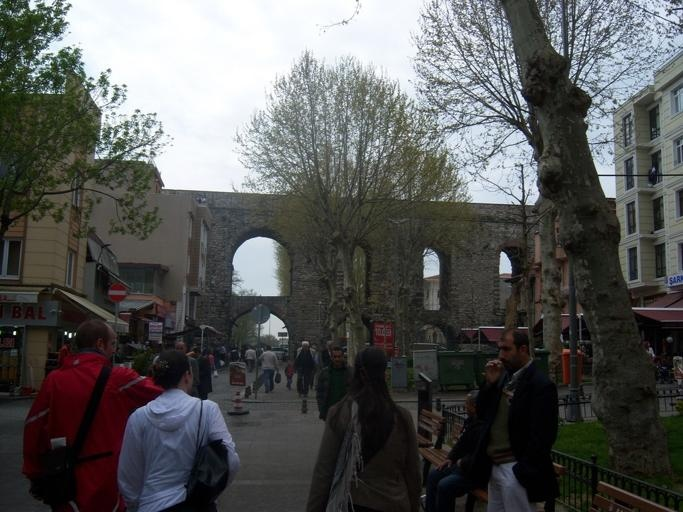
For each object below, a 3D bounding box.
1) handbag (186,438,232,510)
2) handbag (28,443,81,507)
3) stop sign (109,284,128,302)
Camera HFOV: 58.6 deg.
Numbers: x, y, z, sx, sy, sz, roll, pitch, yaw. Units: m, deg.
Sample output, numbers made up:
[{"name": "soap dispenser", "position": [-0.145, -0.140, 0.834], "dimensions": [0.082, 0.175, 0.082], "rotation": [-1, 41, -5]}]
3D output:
[{"name": "handbag", "position": [-0.976, 1.613, 4.455], "dimensions": [0.307, 0.494, 0.121], "rotation": [2, -7, -19]}, {"name": "handbag", "position": [-2.321, 1.783, 4.929], "dimensions": [0.318, 0.499, 0.110], "rotation": [-1, -7, 4]}, {"name": "stop sign", "position": [-5.893, 0.974, 16.050], "dimensions": [0.378, 0.529, 1.278], "rotation": [2, -8, -16]}]
